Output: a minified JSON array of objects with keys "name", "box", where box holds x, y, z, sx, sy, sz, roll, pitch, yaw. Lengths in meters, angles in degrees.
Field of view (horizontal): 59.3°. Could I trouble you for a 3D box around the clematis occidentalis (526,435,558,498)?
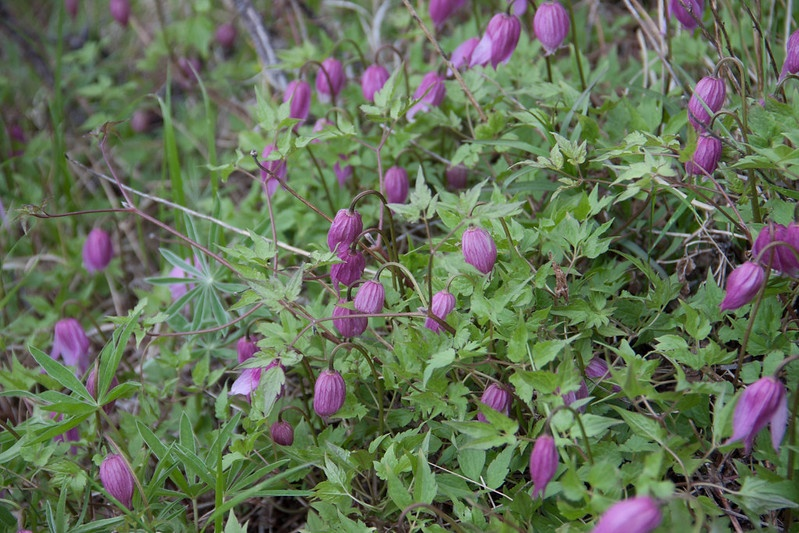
[{"name":"clematis occidentalis","box":[0.507,0.721,2.494,0.098,0.239,0.075,22,14,34]}]
